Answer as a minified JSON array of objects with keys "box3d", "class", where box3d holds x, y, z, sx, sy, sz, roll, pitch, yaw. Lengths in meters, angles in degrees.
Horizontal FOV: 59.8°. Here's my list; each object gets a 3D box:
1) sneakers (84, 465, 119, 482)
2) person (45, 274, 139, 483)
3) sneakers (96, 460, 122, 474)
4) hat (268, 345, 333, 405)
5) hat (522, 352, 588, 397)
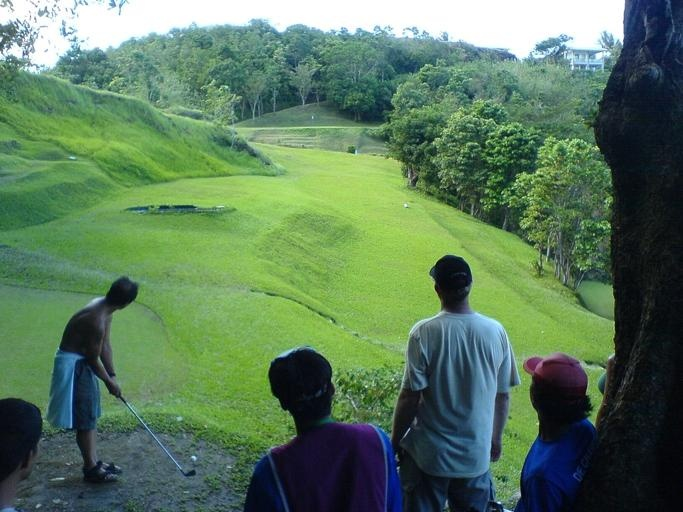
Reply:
[{"box3d":[-3.285,2.940,8.131,0.365,0.166,0.240,0,3,-2],"class":"sneakers"},{"box3d":[-3.378,1.643,7.986,0.984,2.829,0.590,3,7,-28],"class":"person"},{"box3d":[-3.229,2.939,8.250,0.317,0.120,0.180,9,5,17],"class":"sneakers"},{"box3d":[-0.376,1.032,5.195,0.412,0.435,0.545,7,23,26],"class":"hat"},{"box3d":[1.996,1.075,5.636,0.379,0.305,0.516,-1,20,-34],"class":"hat"}]
